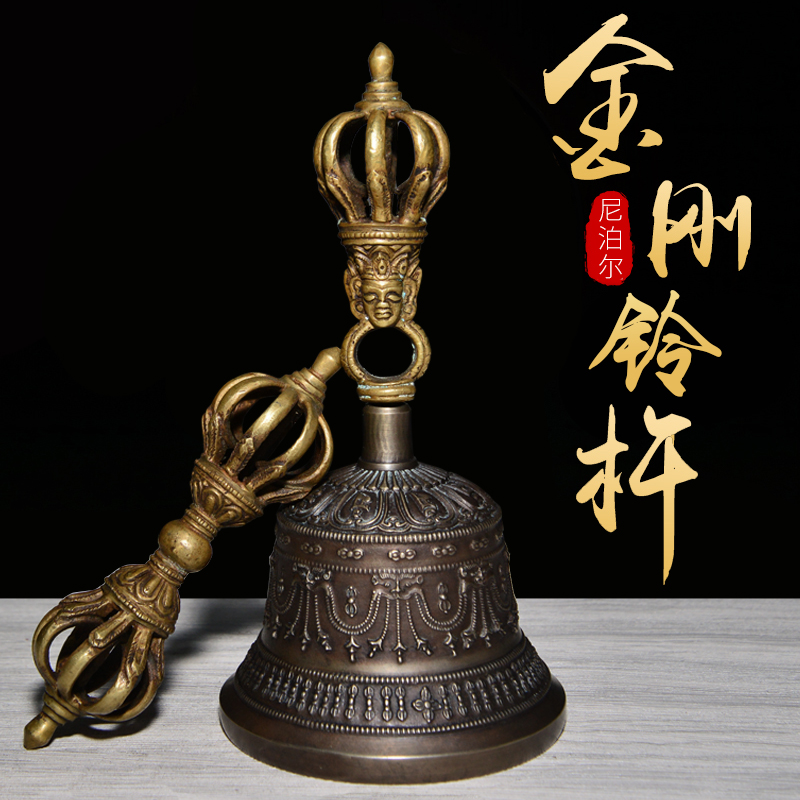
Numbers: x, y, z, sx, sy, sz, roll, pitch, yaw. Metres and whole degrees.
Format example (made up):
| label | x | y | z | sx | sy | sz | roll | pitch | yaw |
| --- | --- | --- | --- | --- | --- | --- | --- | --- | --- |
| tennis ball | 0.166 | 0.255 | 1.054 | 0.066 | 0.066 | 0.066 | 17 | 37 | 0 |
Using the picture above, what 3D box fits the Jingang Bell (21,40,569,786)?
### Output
| label | x | y | z | sx | sy | sz | roll | pitch | yaw |
| --- | --- | --- | --- | --- | --- | --- | --- | --- | --- |
| Jingang Bell | -0.164 | 0.012 | 1.976 | 1.029 | 1.246 | 0.667 | -2 | 6 | -15 |
